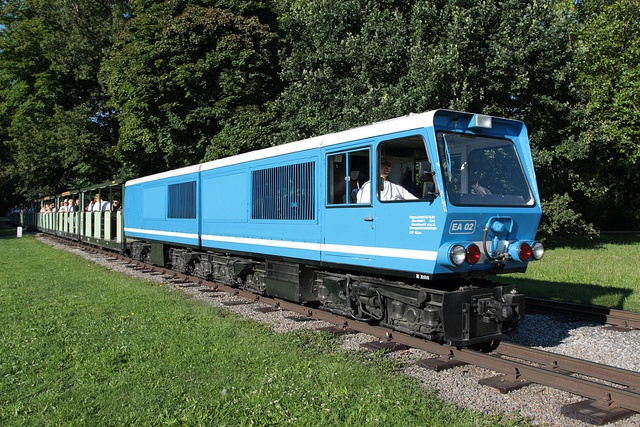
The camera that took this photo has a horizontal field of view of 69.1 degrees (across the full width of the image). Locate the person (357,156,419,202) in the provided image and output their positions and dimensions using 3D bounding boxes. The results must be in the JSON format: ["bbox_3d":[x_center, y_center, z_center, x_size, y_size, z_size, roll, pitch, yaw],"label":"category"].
[{"bbox_3d":[1.297,-0.453,8.846,1.237,1.079,0.718,0,-2,-22],"label":"person"}]
